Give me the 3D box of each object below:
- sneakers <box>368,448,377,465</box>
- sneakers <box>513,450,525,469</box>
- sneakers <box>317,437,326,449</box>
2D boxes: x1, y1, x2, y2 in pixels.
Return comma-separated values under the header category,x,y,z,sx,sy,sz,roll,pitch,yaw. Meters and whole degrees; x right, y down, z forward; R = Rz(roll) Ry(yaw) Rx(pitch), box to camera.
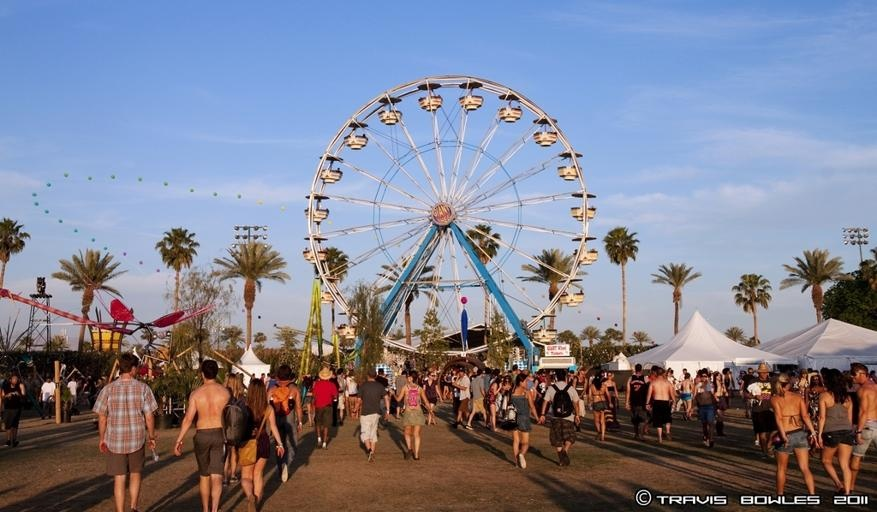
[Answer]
category,x,y,z,sx,sy,sz,roll,pitch,yaw
sneakers,-1.948,5.960,22.058,0.212,0.227,0.508,4,-36,-10
sneakers,2.230,5.732,21.015,0.250,0.427,0.204,-11,12,-26
sneakers,-3.815,6.143,24.529,0.238,0.353,0.182,-14,-49,-3
